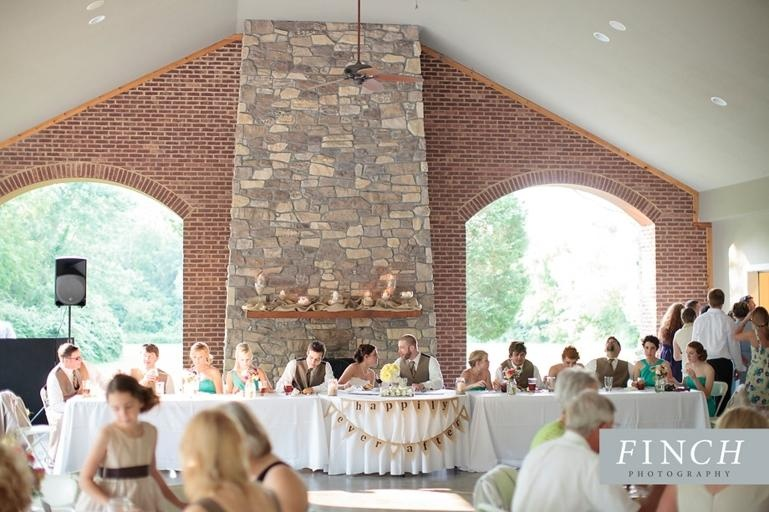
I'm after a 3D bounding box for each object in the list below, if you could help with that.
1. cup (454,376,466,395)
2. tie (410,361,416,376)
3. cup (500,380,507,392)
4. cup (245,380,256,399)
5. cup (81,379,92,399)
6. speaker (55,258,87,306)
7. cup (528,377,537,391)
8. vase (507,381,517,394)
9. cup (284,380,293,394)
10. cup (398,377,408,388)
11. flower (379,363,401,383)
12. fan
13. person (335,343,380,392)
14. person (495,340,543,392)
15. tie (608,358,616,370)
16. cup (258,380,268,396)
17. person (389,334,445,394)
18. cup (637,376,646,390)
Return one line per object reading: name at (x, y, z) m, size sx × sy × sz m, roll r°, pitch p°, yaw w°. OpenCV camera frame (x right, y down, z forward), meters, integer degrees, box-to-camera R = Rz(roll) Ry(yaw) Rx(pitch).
cup at (0.954, 1.677, 10.069) m, size 0.179 × 0.283 × 0.176 m, roll -3°, pitch -2°, yaw 0°
tie at (0.372, 1.547, 10.771) m, size 0.050 × 0.196 × 0.052 m, roll 9°, pitch -14°, yaw -36°
cup at (1.508, 1.675, 10.041) m, size 0.092 × 0.102 × 0.107 m, roll -1°, pitch -11°, yaw 3°
cup at (-1.687, 1.686, 9.783) m, size 0.187 × 0.298 × 0.172 m, roll -1°, pitch -8°, yaw 0°
cup at (-3.654, 1.618, 9.574) m, size 0.117 × 0.202 × 0.227 m, roll 3°, pitch -10°, yaw -21°
speaker at (-5.066, 0.297, 12.585) m, size 0.491 × 0.814 × 0.434 m, roll -1°, pitch 27°, yaw -26°
cup at (1.891, 1.688, 10.171) m, size 0.135 × 0.149 × 0.137 m, roll 0°, pitch -8°, yaw 0°
vase at (1.597, 1.670, 9.925) m, size 0.148 × 0.225 × 0.135 m, roll 0°, pitch -7°, yaw -2°
cup at (-1.221, 1.672, 9.891) m, size 0.108 × 0.116 × 0.114 m, roll 1°, pitch -9°, yaw 0°
cup at (0.222, 1.595, 9.841) m, size 0.106 × 0.123 × 0.107 m, roll 0°, pitch -7°, yaw 0°
flower at (0.061, 1.490, 9.969) m, size 0.237 × 0.208 × 0.238 m, roll 1°, pitch -11°, yaw -6°
fan at (-0.507, -3.259, 12.708) m, size 1.787 × 1.768 × 1.713 m, roll -1°, pitch 0°, yaw -20°
person at (-0.391, 1.472, 10.496) m, size 0.514 × 0.621 × 0.721 m, roll 0°, pitch -9°, yaw -4°
person at (1.823, 1.509, 10.596) m, size 0.717 × 0.727 × 0.397 m, roll -1°, pitch 3°, yaw -10°
tie at (3.089, 1.449, 10.625) m, size 0.069 × 0.116 × 0.064 m, roll 0°, pitch -6°, yaw 13°
cup at (-1.570, 1.713, 10.047) m, size 0.144 × 0.224 × 0.143 m, roll -2°, pitch -8°, yaw 0°
person at (0.404, 1.519, 11.015) m, size 0.679 × 0.921 × 0.547 m, roll -17°, pitch 13°, yaw 29°
cup at (3.238, 1.644, 10.024) m, size 0.121 × 0.138 × 0.121 m, roll -3°, pitch -7°, yaw 0°
